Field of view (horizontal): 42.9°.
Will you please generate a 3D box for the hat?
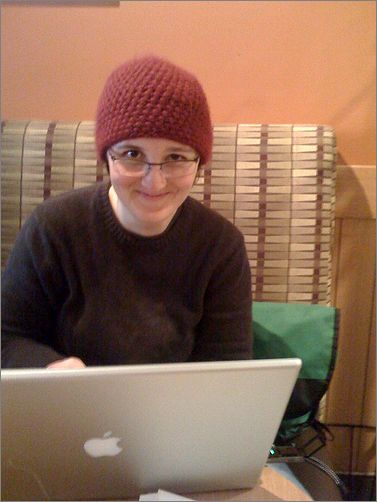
[{"bbox_3d":[-0.059,-0.230,0.784,0.149,0.143,0.167,3,-6,-5],"label":"hat"}]
